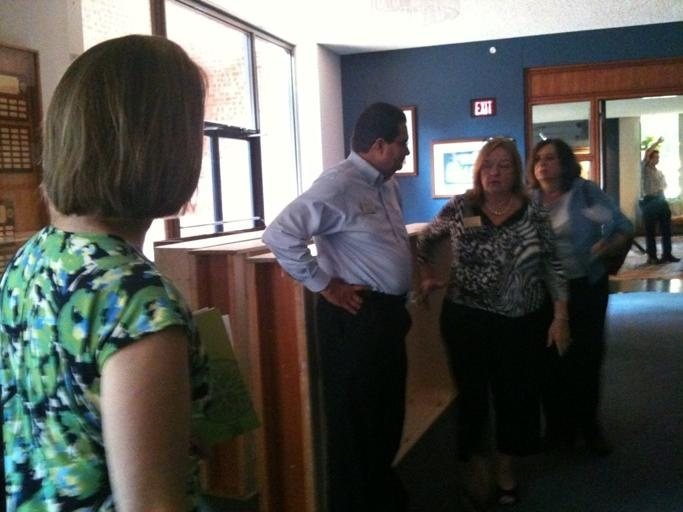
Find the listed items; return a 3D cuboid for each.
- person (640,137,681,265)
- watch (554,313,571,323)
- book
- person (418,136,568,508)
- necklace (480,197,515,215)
[{"bbox_3d":[3.781,-0.573,7.174,0.428,1.105,1.659,3,17,27],"label":"person"},{"bbox_3d":[0.912,0.259,2.486,0.034,0.028,0.036,-3,8,-24],"label":"watch"},{"bbox_3d":[-0.290,0.318,1.500,0.077,0.330,0.336,-9,9,7],"label":"book"},{"bbox_3d":[0.650,0.251,2.646,0.407,1.469,0.552,-10,15,-24],"label":"person"},{"bbox_3d":[0.641,-0.195,2.469,0.109,0.058,0.036,-1,15,12],"label":"necklace"}]
